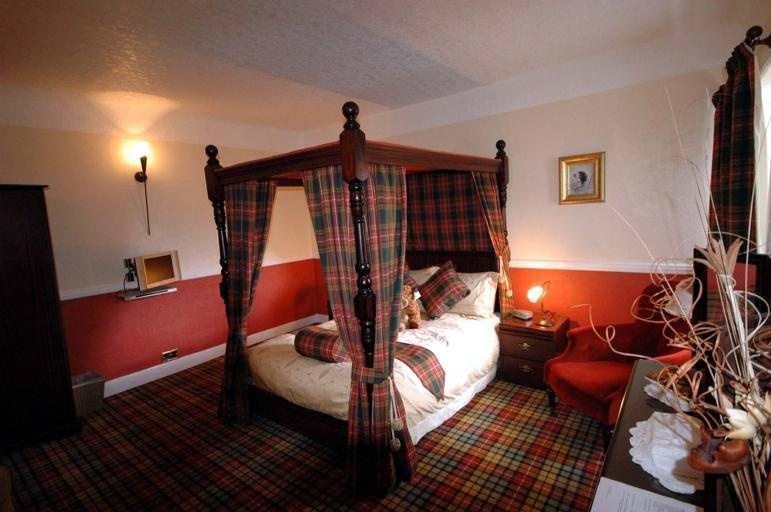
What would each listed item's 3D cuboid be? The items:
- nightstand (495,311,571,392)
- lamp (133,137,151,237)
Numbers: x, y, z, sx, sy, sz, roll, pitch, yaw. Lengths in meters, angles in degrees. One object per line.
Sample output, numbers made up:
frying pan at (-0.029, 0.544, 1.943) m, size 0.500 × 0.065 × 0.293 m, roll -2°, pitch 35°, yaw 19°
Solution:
nightstand at (2.027, 1.240, 6.618) m, size 0.933 × 0.918 × 0.980 m, roll 1°, pitch 1°, yaw 36°
lamp at (-3.423, -0.935, 6.788) m, size 0.229 × 1.295 × 0.162 m, roll -8°, pitch 9°, yaw -36°
